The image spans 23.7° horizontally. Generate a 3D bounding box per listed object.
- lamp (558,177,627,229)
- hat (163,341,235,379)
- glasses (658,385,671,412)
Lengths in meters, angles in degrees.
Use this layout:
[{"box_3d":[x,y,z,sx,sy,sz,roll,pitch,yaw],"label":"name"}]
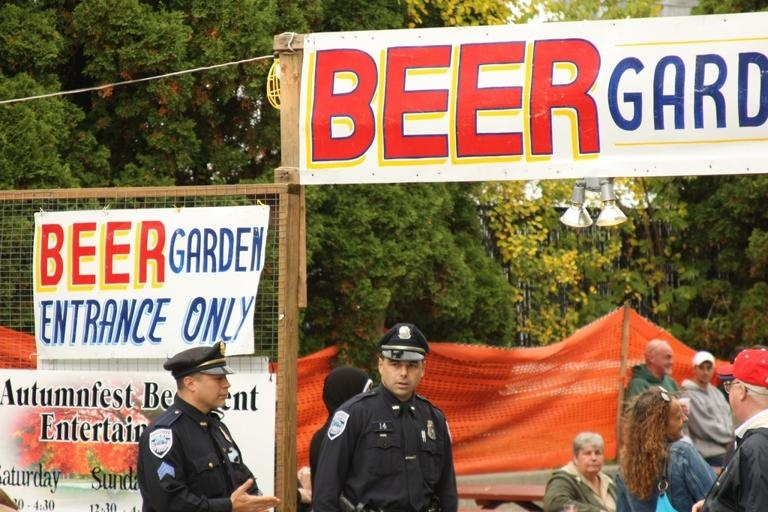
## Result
[{"box_3d":[3.003,-0.766,26.503,0.865,1.007,0.554,-1,-36,9],"label":"lamp"},{"box_3d":[-2.125,1.212,21.326,0.844,0.406,0.688,-6,0,4],"label":"hat"},{"box_3d":[3.345,1.671,21.604,0.137,0.085,0.308,33,18,-17],"label":"glasses"}]
